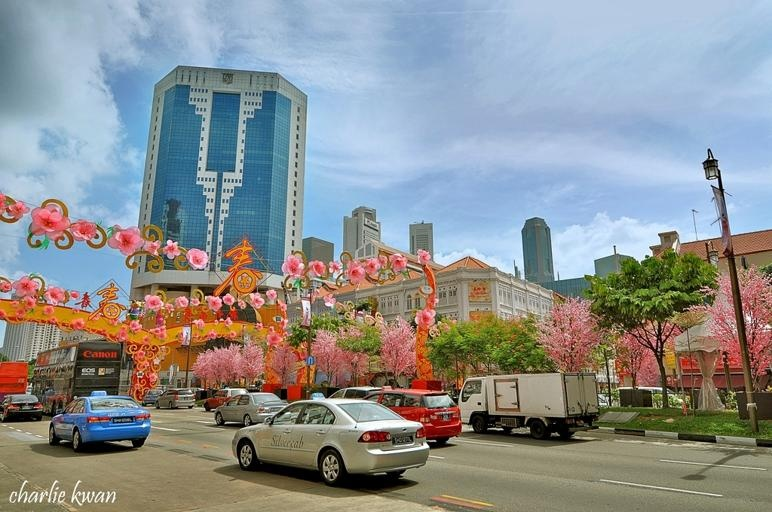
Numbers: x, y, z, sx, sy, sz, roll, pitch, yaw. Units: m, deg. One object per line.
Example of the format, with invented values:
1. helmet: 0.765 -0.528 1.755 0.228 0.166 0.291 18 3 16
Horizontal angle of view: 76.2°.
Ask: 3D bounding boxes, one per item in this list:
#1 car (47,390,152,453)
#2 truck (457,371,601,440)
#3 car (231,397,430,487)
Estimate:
1. car: -11.181 6.397 18.816 3.600 1.977 1.613 -5 -16 15
2. truck: 6.574 7.100 23.991 6.374 2.622 3.236 -11 -19 43
3. car: -1.960 5.519 15.117 5.362 1.663 2.370 -4 -16 32
